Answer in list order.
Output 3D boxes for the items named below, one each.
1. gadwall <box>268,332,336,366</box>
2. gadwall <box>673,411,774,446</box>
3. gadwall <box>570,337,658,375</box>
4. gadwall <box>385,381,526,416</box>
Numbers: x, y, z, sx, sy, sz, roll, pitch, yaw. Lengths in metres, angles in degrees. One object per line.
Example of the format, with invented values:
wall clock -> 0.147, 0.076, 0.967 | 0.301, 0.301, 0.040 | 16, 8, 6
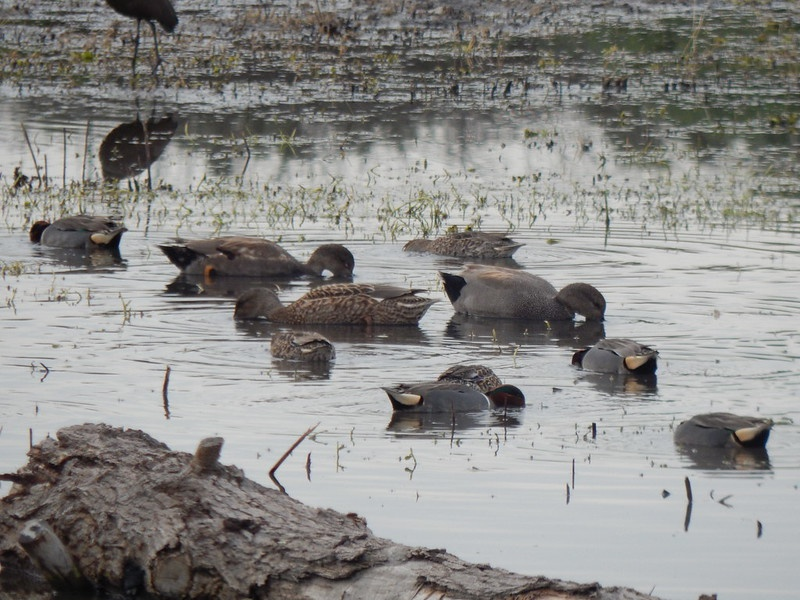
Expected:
gadwall -> -1.178, 0.553, 18.000 | 0.422, 0.186, 0.587 | 5, 1, -45
gadwall -> 3.276, 1.336, 15.435 | 0.945, 0.320, 0.450 | 3, 5, 10
gadwall -> 2.503, 0.647, 17.567 | 0.423, 0.240, 0.855 | 1, -2, -33
gadwall -> 0.614, 1.068, 16.317 | 1.557, 0.396, 0.491 | 3, -6, -8
